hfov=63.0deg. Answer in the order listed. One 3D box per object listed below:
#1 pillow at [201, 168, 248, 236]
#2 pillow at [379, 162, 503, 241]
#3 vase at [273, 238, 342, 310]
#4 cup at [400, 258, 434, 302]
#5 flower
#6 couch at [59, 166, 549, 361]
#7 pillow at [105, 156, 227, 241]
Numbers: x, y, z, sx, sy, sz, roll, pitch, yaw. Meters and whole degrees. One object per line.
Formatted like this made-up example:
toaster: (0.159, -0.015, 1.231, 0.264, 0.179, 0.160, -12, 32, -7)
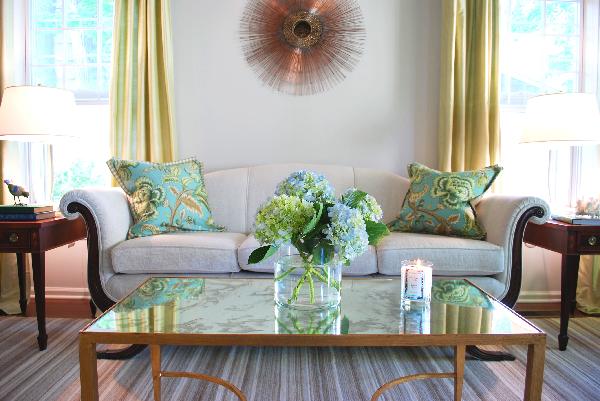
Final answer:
pillow: (-0.587, -0.001, 3.904, 0.411, 0.443, 0.129, -5, -2, 1)
pillow: (1.107, 0.094, 3.805, 0.960, 0.824, 0.506, 2, -9, 31)
vase: (0.040, 0.378, 2.550, 0.326, 0.337, 0.332, 1, -7, -2)
cup: (0.624, 0.433, 2.705, 0.199, 0.237, 0.196, 1, -1, 0)
flower: (0.061, 0.201, 2.699, 0.735, 0.721, 0.713, 0, 4, -36)
couch: (0.045, 0.375, 3.816, 3.412, 1.449, 1.162, 0, 0, -5)
pillow: (-1.052, 0.111, 3.849, 0.968, 0.758, 0.552, -4, 8, -31)
